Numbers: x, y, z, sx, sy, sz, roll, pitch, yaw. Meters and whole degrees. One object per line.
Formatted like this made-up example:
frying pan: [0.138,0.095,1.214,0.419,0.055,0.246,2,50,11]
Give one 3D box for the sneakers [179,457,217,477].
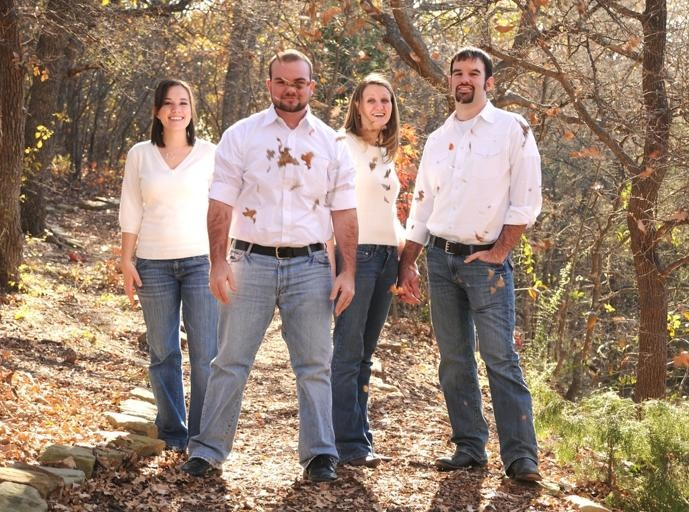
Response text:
sneakers: [-1.282,1.874,8.713,0.278,0.097,0.153,28,-35,-16]
